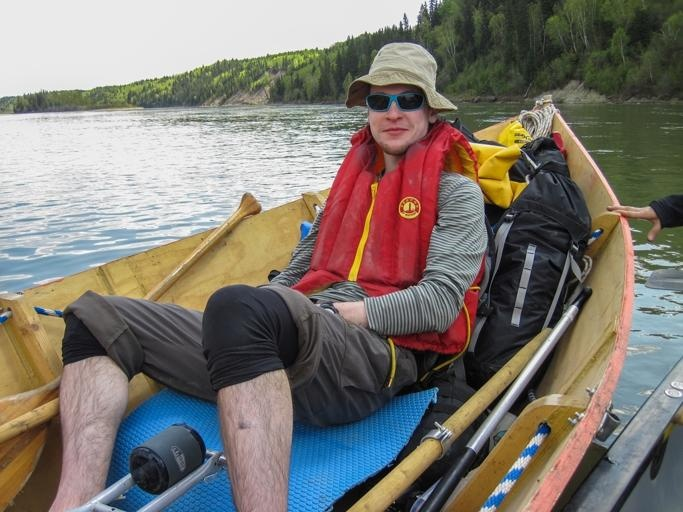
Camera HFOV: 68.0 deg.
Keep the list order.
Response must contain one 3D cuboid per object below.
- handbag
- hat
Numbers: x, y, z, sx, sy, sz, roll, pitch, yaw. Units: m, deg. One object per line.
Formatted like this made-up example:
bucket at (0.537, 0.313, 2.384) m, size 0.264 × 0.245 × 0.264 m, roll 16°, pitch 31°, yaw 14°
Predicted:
handbag at (0.994, 0.018, 2.838) m, size 0.526 × 0.567 × 1.768 m, roll -4°, pitch 57°, yaw 52°
hat at (0.293, -0.873, 2.543) m, size 0.473 × 0.312 × 0.501 m, roll 4°, pitch 14°, yaw 6°
